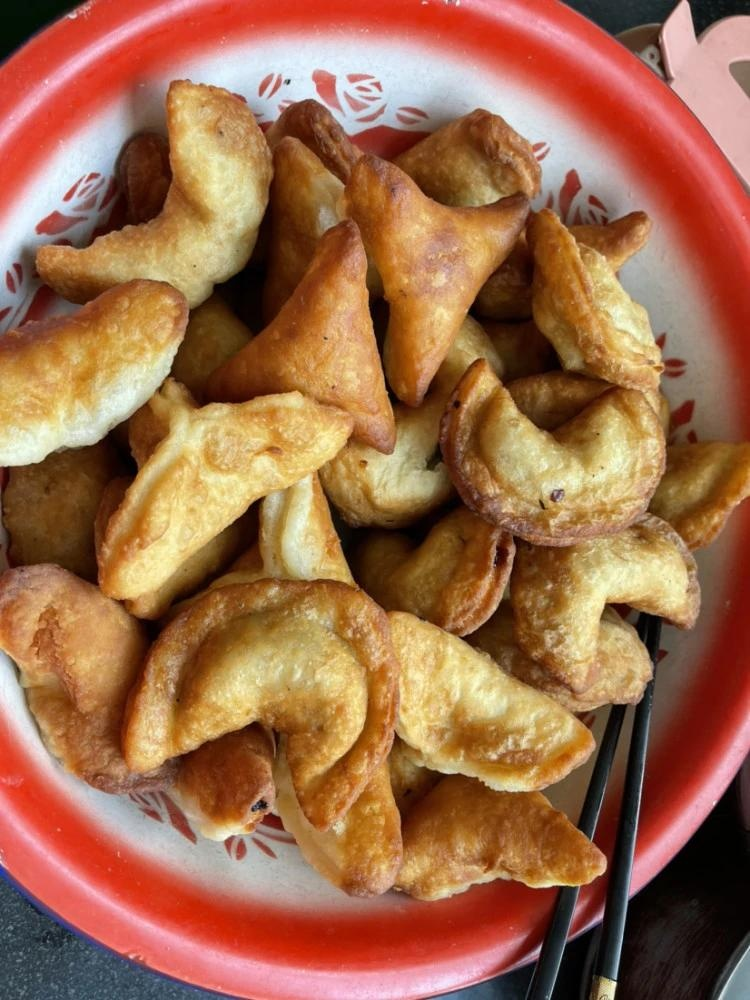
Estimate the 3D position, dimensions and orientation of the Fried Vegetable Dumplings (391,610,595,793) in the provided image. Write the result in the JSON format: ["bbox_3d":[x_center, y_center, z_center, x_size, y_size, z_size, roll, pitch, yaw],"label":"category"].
[{"bbox_3d":[0.135,0.131,0.915,0.122,0.040,0.210,25,46,-8],"label":"Fried Vegetable Dumplings"}]

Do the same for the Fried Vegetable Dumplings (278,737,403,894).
[{"bbox_3d":[-0.019,0.253,0.853,0.088,0.029,0.123,-7,41,-4],"label":"Fried Vegetable Dumplings"}]

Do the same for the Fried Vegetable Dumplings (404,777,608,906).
[{"bbox_3d":[0.092,0.278,0.896,0.160,0.123,0.098,-10,76,-4],"label":"Fried Vegetable Dumplings"}]

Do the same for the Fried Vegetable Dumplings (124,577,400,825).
[{"bbox_3d":[-0.076,0.139,0.798,0.192,0.061,0.173,19,75,3],"label":"Fried Vegetable Dumplings"}]
